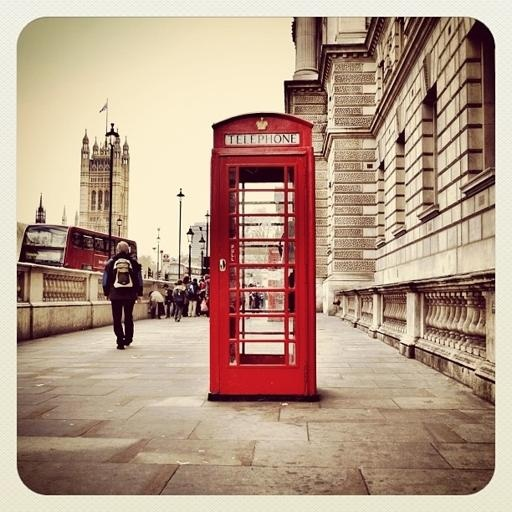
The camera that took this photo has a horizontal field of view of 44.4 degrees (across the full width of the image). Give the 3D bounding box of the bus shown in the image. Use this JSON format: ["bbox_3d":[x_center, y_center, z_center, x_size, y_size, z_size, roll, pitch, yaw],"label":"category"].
[{"bbox_3d":[-8.547,0.011,30.977,2.479,3.832,7.501,3,4,22],"label":"bus"}]

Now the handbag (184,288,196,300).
[{"bbox_3d":[-2.859,1.656,27.524,0.481,0.954,0.421,0,2,-2],"label":"handbag"}]

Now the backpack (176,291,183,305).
[{"bbox_3d":[-2.940,1.618,24.001,0.266,0.528,1.046,0,-2,-3],"label":"backpack"}]

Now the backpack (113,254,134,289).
[{"bbox_3d":[-2.488,0.280,11.879,0.459,0.907,0.422,0,7,-6],"label":"backpack"}]
